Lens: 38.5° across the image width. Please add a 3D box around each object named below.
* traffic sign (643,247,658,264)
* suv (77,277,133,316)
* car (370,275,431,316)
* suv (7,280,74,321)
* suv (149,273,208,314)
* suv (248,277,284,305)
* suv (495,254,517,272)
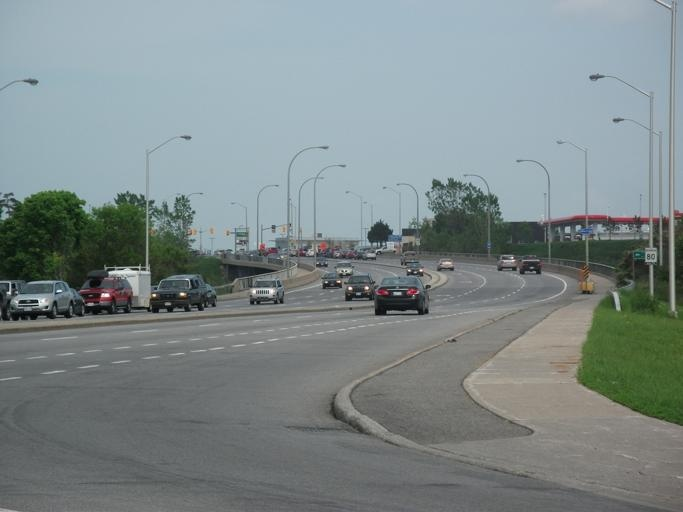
[{"bbox_3d":[13.015,-0.012,41.129,0.453,0.571,0.695,0,2,8],"label":"traffic sign"},{"bbox_3d":[-11.199,1.901,46.022,2.022,1.812,3.944,-2,-3,4],"label":"suv"},{"bbox_3d":[2.541,1.660,40.095,1.969,1.678,4.916,-2,-3,10],"label":"car"},{"bbox_3d":[-12.230,1.839,40.077,1.797,1.660,3.655,-2,-2,-2],"label":"suv"},{"bbox_3d":[-7.394,1.680,44.671,2.055,1.898,2.739,1,2,1],"label":"suv"},{"bbox_3d":[-4.160,2.013,55.364,1.396,1.383,2.299,1,3,31],"label":"suv"},{"bbox_3d":[17.260,0.740,101.339,1.981,1.554,2.489,0,2,10],"label":"suv"}]
